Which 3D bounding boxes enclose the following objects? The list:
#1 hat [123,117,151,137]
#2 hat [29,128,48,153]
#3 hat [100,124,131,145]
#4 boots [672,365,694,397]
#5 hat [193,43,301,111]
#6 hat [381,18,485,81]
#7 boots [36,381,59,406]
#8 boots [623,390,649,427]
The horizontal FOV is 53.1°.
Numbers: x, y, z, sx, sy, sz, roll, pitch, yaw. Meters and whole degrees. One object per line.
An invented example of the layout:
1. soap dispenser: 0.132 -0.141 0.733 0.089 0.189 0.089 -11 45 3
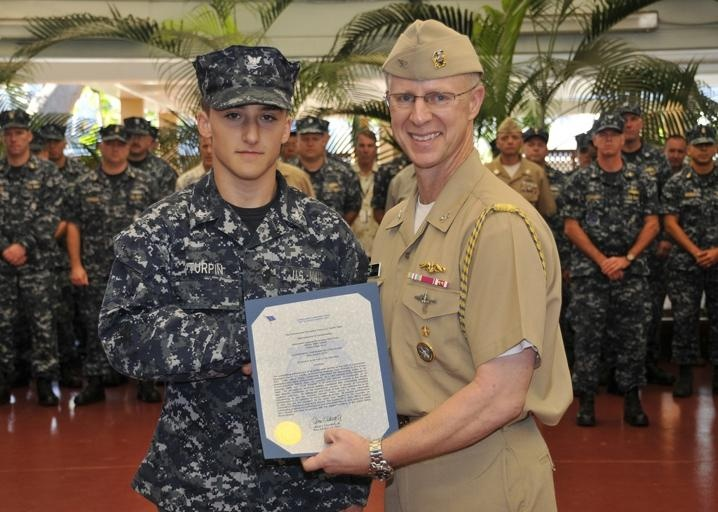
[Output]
1. hat: -2.389 -1.397 7.692 0.265 0.132 0.349 -1 6 -12
2. hat: -3.686 -1.320 8.214 0.077 0.221 0.153 -18 -14 38
3. hat: -2.370 -1.188 7.014 0.336 0.150 0.424 1 -3 -17
4. boots: 3.096 1.177 6.870 0.134 0.255 0.390 3 20 38
5. hat: -0.507 -0.821 3.294 0.476 0.236 0.541 -7 17 -31
6. hat: 0.319 -0.894 3.103 0.439 0.235 0.450 4 17 24
7. boots: -2.902 1.269 6.706 0.180 0.169 0.279 -3 2 -24
8. boots: 2.325 1.272 6.076 0.140 0.327 0.363 2 -4 2
